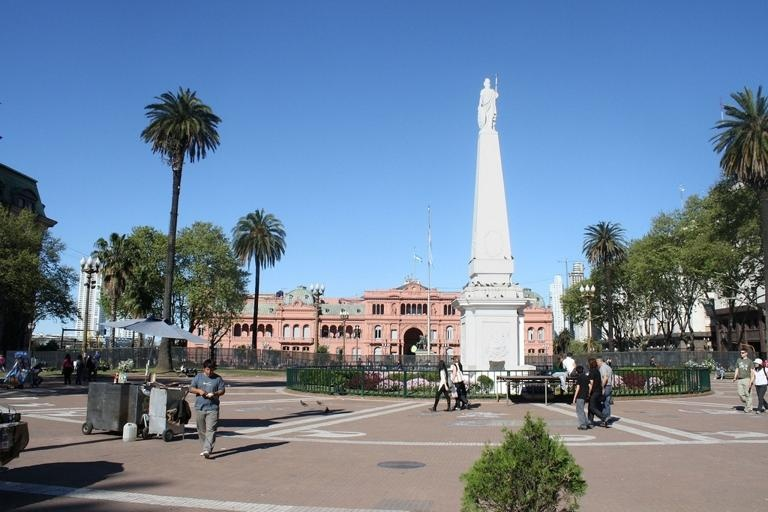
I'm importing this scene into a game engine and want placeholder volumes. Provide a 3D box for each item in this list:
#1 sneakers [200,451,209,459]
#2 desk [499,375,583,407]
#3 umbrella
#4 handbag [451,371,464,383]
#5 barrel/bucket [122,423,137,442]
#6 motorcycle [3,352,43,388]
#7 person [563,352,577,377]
[{"bbox_3d":[-4.872,5.450,18.824,0.113,0.141,0.334,2,-45,2],"label":"sneakers"},{"bbox_3d":[7.069,6.098,31.332,3.016,1.327,4.432,-2,-13,12],"label":"desk"},{"bbox_3d":[-7.751,2.686,23.200,2.558,1.737,4.166,7,-14,-26],"label":"umbrella"},{"bbox_3d":[3.055,5.029,28.445,0.504,0.726,0.398,2,-14,-7],"label":"handbag"},{"bbox_3d":[-7.666,5.338,20.790,0.469,0.561,0.392,7,-15,-28],"label":"barrel/bucket"},{"bbox_3d":[-20.132,6.469,37.971,1.418,1.880,3.006,-2,-16,-6],"label":"motorcycle"},{"bbox_3d":[8.187,4.810,30.356,0.468,1.104,1.896,-2,-13,13],"label":"person"}]
